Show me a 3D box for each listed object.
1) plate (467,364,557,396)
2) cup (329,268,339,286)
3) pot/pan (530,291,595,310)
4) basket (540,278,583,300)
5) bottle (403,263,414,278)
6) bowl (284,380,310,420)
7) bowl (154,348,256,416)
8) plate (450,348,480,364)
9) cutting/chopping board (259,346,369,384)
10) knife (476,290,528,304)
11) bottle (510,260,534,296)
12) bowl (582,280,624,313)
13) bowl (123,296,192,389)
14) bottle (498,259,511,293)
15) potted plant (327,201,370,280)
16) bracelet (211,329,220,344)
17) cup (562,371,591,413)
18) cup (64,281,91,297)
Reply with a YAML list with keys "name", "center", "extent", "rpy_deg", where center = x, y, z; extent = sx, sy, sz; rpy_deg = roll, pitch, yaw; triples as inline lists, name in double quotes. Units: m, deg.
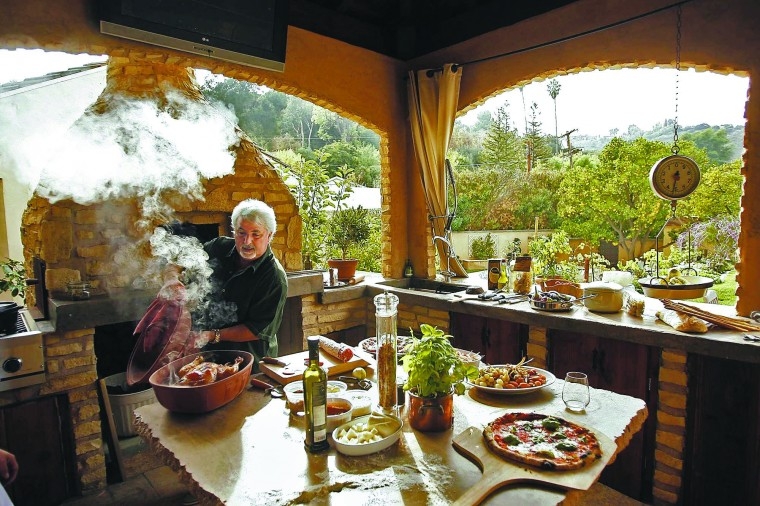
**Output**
- name: "plate"
  center: [0.830, 0.781, 3.313]
  extent: [0.294, 0.037, 0.284]
  rpy_deg: [-5, 6, -16]
- name: "cup"
  center: [-0.470, 0.240, 5.558]
  extent: [0.094, 0.171, 0.108]
  rpy_deg: [-3, 6, -5]
- name: "pot/pan"
  center: [1.433, 0.399, 4.501]
  extent: [0.205, 0.115, 0.327]
  rpy_deg: [-5, 7, -31]
- name: "basket"
  center: [1.596, 0.309, 4.777]
  extent: [0.171, 0.102, 0.206]
  rpy_deg: [3, 8, 0]
- name: "bottle"
  center: [0.320, 0.196, 5.985]
  extent: [0.142, 0.149, 0.137]
  rpy_deg: [-1, 6, -11]
- name: "bowl"
  center: [-0.474, 0.863, 3.200]
  extent: [0.176, 0.123, 0.174]
  rpy_deg: [0, 7, 0]
- name: "bowl"
  center: [-1.035, 0.747, 3.185]
  extent: [0.375, 0.186, 0.470]
  rpy_deg: [3, 3, 29]
- name: "plate"
  center: [0.552, 0.660, 3.479]
  extent: [0.149, 0.062, 0.169]
  rpy_deg: [2, 1, -43]
- name: "cutting/chopping board"
  center: [-0.443, 0.732, 3.496]
  extent: [0.402, 0.038, 0.288]
  rpy_deg: [-5, 10, -35]
- name: "knife"
  center: [1.107, 0.398, 4.838]
  extent: [0.519, 0.027, 0.149]
  rpy_deg: [0, 9, -33]
- name: "bottle"
  center: [1.324, 0.198, 5.006]
  extent: [0.152, 0.340, 0.153]
  rpy_deg: [-2, 6, 0]
- name: "bowl"
  center: [1.820, 0.358, 4.393]
  extent: [0.325, 0.203, 0.240]
  rpy_deg: [0, 2, 0]
- name: "bowl"
  center: [-1.445, 0.578, 3.566]
  extent: [0.217, 0.543, 0.533]
  rpy_deg: [19, -47, -31]
- name: "bottle"
  center: [1.189, 0.208, 5.161]
  extent: [0.112, 0.270, 0.304]
  rpy_deg: [-1, 6, 13]
- name: "potted plant"
  center: [-0.324, -0.121, 5.888]
  extent: [0.461, 0.766, 0.659]
  rpy_deg: [-2, 6, -1]
- name: "bracelet"
  center: [-1.155, 0.592, 3.831]
  extent: [0.040, 0.081, 0.069]
  rpy_deg: [-1, -5, -30]
- name: "cup"
  center: [1.146, 0.818, 3.262]
  extent: [0.216, 0.256, 0.198]
  rpy_deg: [-3, 5, 0]
- name: "cup"
  center: [-2.442, 0.284, 4.395]
  extent: [0.147, 0.101, 0.143]
  rpy_deg: [2, 6, 0]
